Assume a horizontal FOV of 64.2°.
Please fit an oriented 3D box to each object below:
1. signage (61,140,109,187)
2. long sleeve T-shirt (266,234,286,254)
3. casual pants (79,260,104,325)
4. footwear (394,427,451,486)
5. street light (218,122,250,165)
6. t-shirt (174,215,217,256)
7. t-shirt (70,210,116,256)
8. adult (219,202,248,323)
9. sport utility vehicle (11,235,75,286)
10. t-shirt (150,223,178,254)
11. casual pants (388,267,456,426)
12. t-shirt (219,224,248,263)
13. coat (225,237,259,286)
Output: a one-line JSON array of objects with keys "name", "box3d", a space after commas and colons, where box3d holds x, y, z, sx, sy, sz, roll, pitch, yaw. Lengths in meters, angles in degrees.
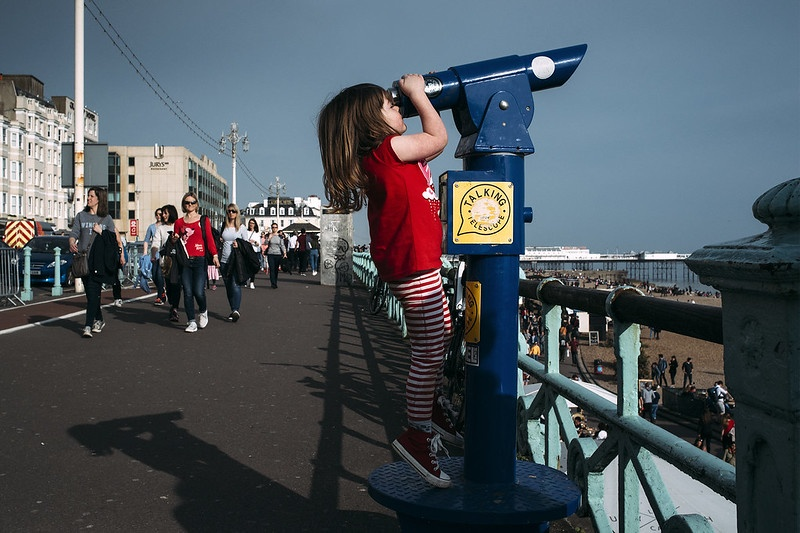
[{"name": "signage", "box3d": [-9.814, -3.062, 19.583, 0.513, 1.369, 1.371, 2, 4, 8]}, {"name": "long sleeve T-shirt", "box3d": [-4.785, -0.870, 24.400, 0.634, 0.949, 0.539, -1, -38, -6]}, {"name": "casual pants", "box3d": [-4.628, 0.464, 9.591, 0.255, 1.166, 0.802, -2, 3, -27]}, {"name": "footwear", "box3d": [0.118, 0.875, 2.935, 0.156, 0.201, 0.367, -2, 3, -27]}, {"name": "street light", "box3d": [-2.450, -1.770, 9.394, 0.362, 0.729, 0.391, 1, 3, -12]}, {"name": "t-shirt", "box3d": [-3.345, -0.486, 10.346, 0.496, 0.542, 0.290, -15, 6, -4]}, {"name": "t-shirt", "box3d": [-4.814, -0.493, 9.977, 0.692, 0.735, 0.362, 4, 11, -39]}, {"name": "adult", "box3d": [-3.204, -0.085, 12.112, 0.807, 2.224, 0.692, 3, 3, 42]}, {"name": "sport utility vehicle", "box3d": [-11.276, -0.215, 20.303, 1.494, 1.514, 2.942, 0, -3, -11]}, {"name": "t-shirt", "box3d": [-4.406, -0.540, 11.909, 0.229, 0.546, 0.625, 6, 9, 41]}, {"name": "casual pants", "box3d": [0.100, 0.398, 3.125, 0.284, 0.755, 0.270, -1, 2, 0]}, {"name": "t-shirt", "box3d": [-3.248, -0.511, 12.246, 0.539, 0.773, 0.292, 8, 13, -7]}, {"name": "coat", "box3d": [-3.036, -0.096, 12.044, 0.409, 1.042, 0.694, -6, 13, -23]}]
